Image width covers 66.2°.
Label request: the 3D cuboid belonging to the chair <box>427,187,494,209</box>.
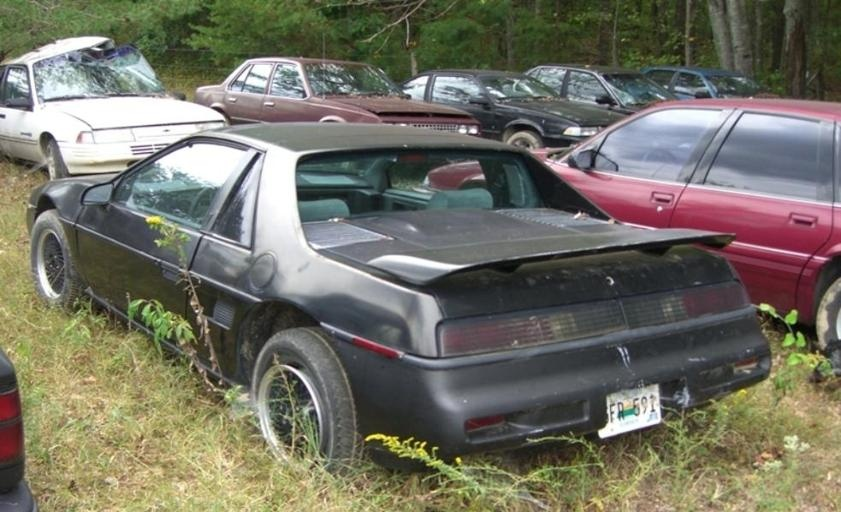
[{"bbox_3d":[0.319,-0.451,5.150,0.382,0.130,0.206,-1,10,-21],"label":"chair"}]

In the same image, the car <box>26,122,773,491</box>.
[{"bbox_3d":[-0.315,0.094,4.747,5.038,1.950,2.257,10,24,30],"label":"car"}]

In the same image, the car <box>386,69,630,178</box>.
[{"bbox_3d":[1.551,-2.751,11.963,4.177,1.075,2.046,18,22,39],"label":"car"}]

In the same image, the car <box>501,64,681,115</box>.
[{"bbox_3d":[3.238,-3.081,12.829,1.464,0.939,2.964,-17,26,-42],"label":"car"}]

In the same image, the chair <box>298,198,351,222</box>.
[{"bbox_3d":[-0.712,-0.351,4.698,0.292,0.095,0.169,-10,18,-36],"label":"chair"}]
